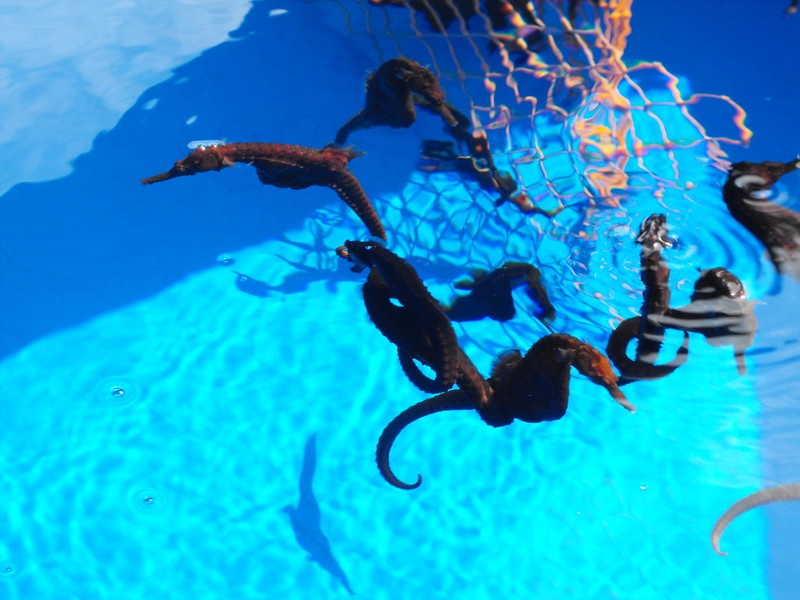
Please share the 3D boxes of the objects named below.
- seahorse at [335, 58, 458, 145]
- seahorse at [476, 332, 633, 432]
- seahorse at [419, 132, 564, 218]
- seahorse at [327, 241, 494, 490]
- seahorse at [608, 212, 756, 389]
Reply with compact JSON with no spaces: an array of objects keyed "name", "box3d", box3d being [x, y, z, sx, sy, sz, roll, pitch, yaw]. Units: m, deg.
[{"name":"seahorse","box3d":[-0.023,-0.669,3.496,0.122,0.607,0.224,-14,95,-46]},{"name":"seahorse","box3d":[0.504,0.254,3.267,0.468,0.391,0.235,11,63,10]},{"name":"seahorse","box3d":[0.330,-0.447,3.667,0.508,0.215,0.115,25,66,19]},{"name":"seahorse","box3d":[0.053,0.168,3.346,0.304,0.668,0.427,-26,44,-11]},{"name":"seahorse","box3d":[0.945,0.023,3.444,0.455,0.378,0.578,11,58,10]}]
